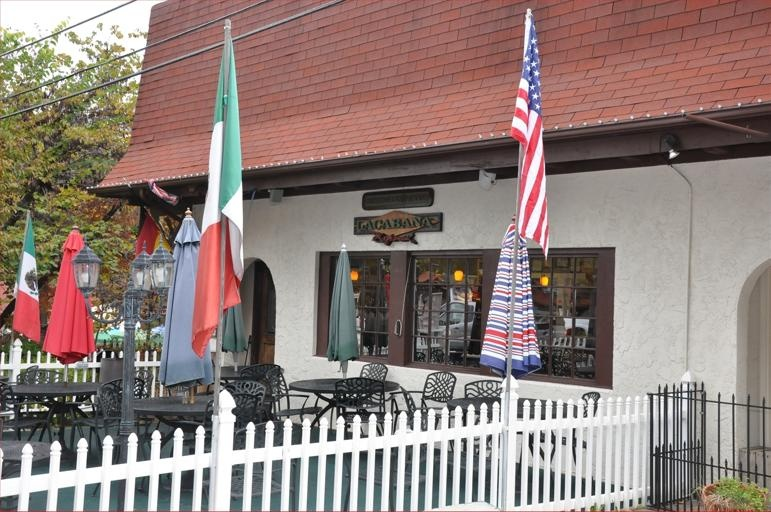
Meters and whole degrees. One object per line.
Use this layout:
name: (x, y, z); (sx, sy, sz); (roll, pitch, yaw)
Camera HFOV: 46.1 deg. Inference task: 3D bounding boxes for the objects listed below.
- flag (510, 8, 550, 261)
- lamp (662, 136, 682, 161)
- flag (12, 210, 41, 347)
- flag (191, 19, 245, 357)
flag: (1.825, -1.621, 11.460); (0.346, 3.098, 0.796); (-2, -11, 21)
lamp: (4.087, -1.549, 12.770); (0.195, 0.276, 0.201); (12, -14, -43)
flag: (-6.479, 0.361, 16.463); (0.472, 2.378, 0.912); (7, -11, -22)
flag: (-1.890, -0.825, 10.703); (0.531, 3.976, 0.898); (4, -10, -11)
